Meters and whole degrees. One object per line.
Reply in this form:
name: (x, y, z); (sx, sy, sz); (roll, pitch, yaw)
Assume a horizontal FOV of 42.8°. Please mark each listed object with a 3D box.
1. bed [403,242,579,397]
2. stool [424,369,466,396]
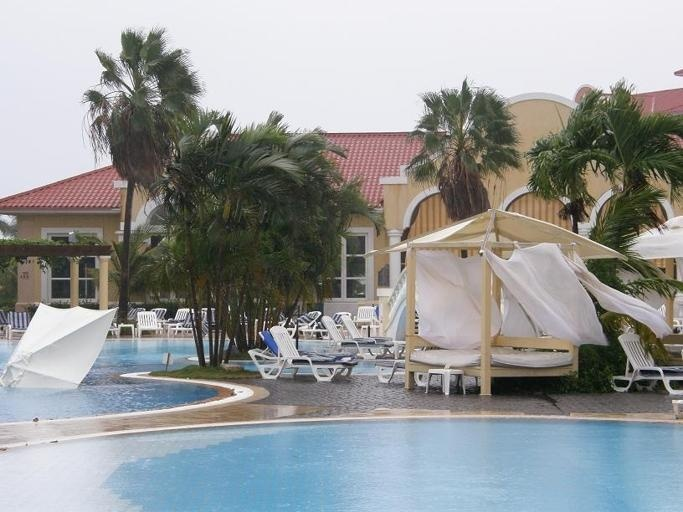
bed: (2.676, 1.348, 17.253); (2.626, 2.740, 2.738); (2, -1, -29)
stool: (1.996, 2.320, 16.668); (0.547, 0.501, 0.575); (2, -6, -27)
